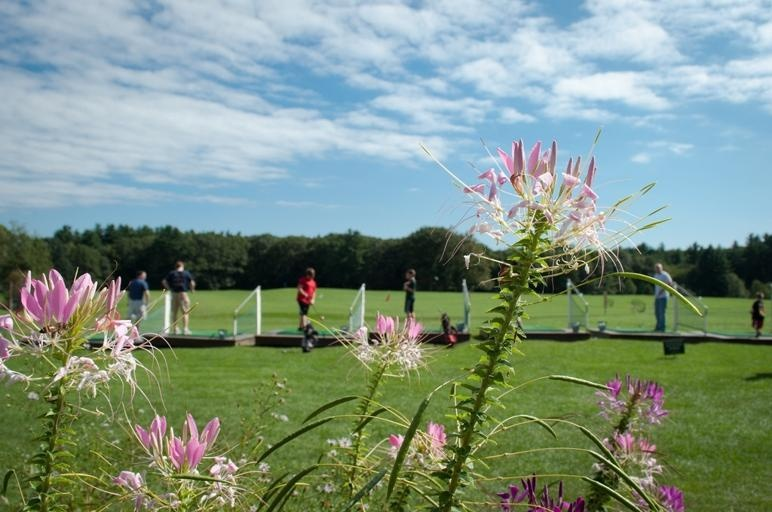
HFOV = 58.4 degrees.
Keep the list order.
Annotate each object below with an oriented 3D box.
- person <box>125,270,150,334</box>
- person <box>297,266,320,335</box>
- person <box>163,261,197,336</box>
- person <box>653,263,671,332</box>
[{"bbox_3d":[-3.823,0.618,10.615,0.308,0.780,0.911,4,-4,-20],"label":"person"},{"bbox_3d":[-1.049,0.548,9.093,0.238,0.849,0.866,2,-4,-6],"label":"person"},{"bbox_3d":[-2.854,0.563,9.488,0.404,1.008,1.151,3,-4,-16],"label":"person"},{"bbox_3d":[5.312,0.756,13.284,0.317,1.381,1.624,0,-4,23],"label":"person"}]
